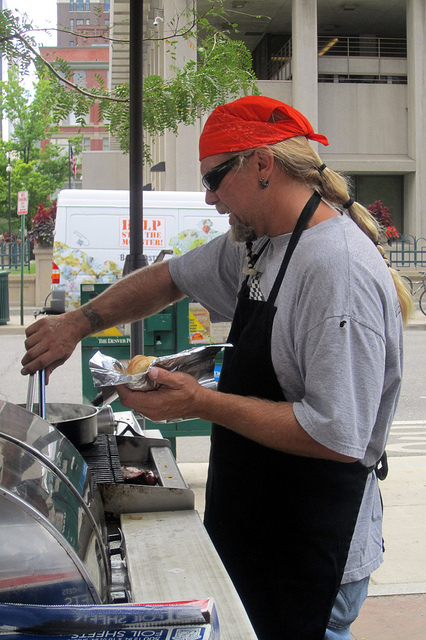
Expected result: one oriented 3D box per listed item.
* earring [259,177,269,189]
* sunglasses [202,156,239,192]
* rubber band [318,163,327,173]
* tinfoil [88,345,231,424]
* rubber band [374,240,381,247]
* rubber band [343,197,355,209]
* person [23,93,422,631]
[{"bbox_3d":[0.126,-0.342,1.818,0.021,0.023,0.009,-3,5,1],"label":"earring"},{"bbox_3d":[0.033,-0.366,1.882,0.084,0.029,0.080,-35,1,-7],"label":"sunglasses"},{"bbox_3d":[0.282,-0.401,1.933,0.023,0.009,0.017,-47,-15,-9],"label":"rubber band"},{"bbox_3d":[-0.138,0.151,1.858,0.345,0.216,0.250,2,4,4],"label":"tinfoil"},{"bbox_3d":[0.411,-0.197,1.874,0.017,0.012,0.020,-5,8,-7],"label":"rubber band"},{"bbox_3d":[0.351,-0.309,1.934,0.023,0.011,0.027,-45,7,-25],"label":"rubber band"},{"bbox_3d":[0.061,0.094,1.967,0.899,1.345,0.666,6,6,42],"label":"person"}]
